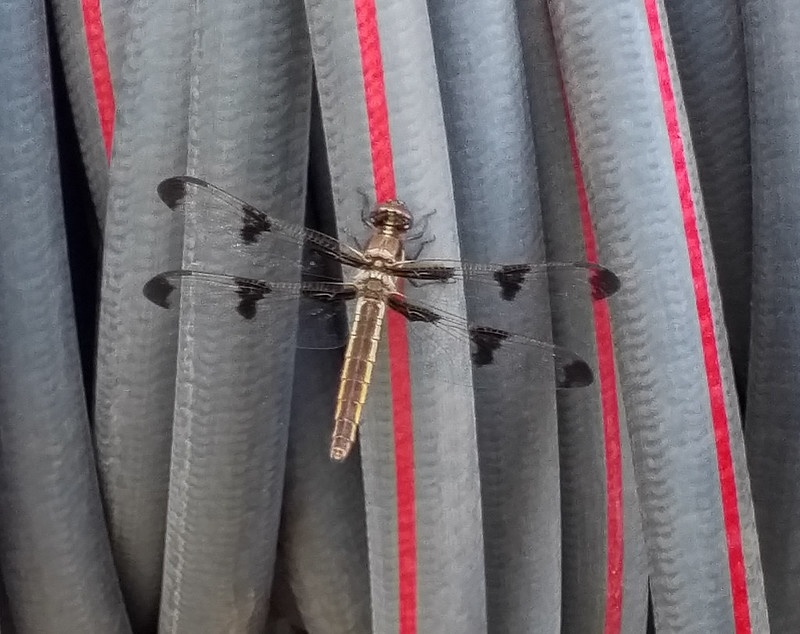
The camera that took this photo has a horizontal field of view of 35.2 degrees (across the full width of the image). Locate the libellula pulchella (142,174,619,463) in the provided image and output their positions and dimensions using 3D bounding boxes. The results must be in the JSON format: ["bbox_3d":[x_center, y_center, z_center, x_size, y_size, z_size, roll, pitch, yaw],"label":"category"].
[{"bbox_3d":[-0.031,0.010,1.301,0.065,0.428,0.255,13,-100,-28],"label":"libellula pulchella"}]
